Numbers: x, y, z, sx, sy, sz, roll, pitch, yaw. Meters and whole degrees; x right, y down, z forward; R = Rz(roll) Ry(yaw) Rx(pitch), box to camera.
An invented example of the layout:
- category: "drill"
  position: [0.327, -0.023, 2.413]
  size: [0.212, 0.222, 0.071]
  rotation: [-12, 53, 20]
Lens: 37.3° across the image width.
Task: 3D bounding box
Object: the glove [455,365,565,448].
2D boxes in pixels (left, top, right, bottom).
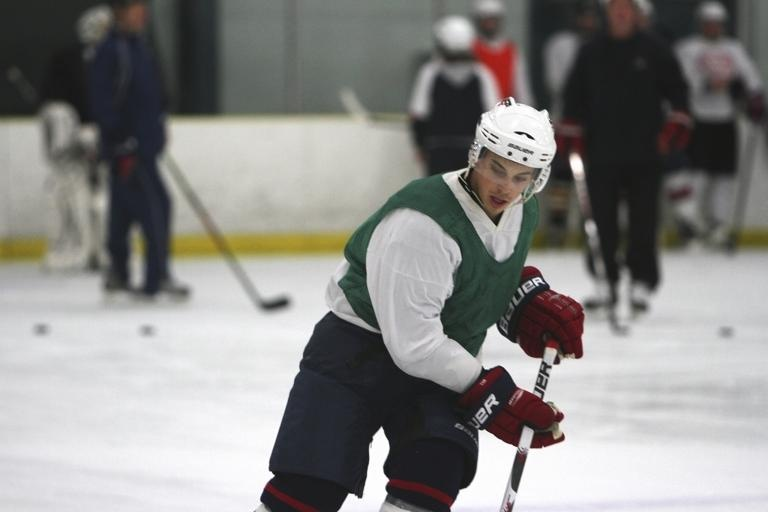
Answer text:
- category: "glove"
  position: [0.451, 0.519, 4.069]
  size: [0.390, 0.230, 0.161]
  rotation: [33, 17, -6]

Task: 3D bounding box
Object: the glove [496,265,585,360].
- category: "glove"
  position: [0.567, 0.237, 4.143]
  size: [0.323, 0.259, 0.166]
  rotation: [32, 38, 17]

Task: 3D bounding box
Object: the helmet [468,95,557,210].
- category: "helmet"
  position: [0.438, -0.418, 4.115]
  size: [0.274, 0.342, 0.356]
  rotation: [22, 22, -6]

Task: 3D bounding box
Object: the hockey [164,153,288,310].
- category: "hockey"
  position: [-1.104, -0.140, 7.877]
  size: [0.165, 1.314, 0.056]
  rotation: [-18, 51, 1]
